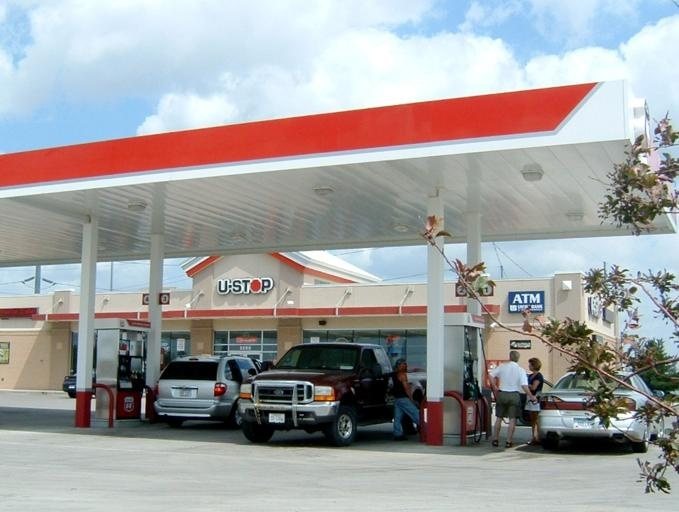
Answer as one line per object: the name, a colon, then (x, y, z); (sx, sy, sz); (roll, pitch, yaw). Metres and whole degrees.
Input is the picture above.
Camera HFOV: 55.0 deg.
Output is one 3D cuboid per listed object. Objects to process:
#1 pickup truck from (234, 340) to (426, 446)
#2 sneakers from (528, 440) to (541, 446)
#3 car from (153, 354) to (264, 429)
pickup truck: (-0.200, 2.979, 14.244); (2.184, 1.449, 3.568); (-7, -16, 25)
sneakers: (4.352, 4.170, 14.574); (0.349, 0.121, 0.124); (9, -11, -42)
car: (-3.532, 3.441, 16.574); (1.648, 1.266, 2.787); (-1, -2, 18)
